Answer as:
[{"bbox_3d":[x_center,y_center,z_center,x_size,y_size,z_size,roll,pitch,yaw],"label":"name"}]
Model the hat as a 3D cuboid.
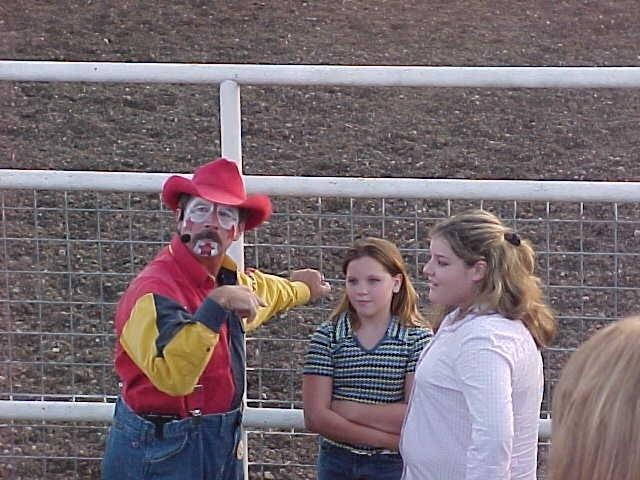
[{"bbox_3d":[-0.578,-0.252,12.918,0.436,0.180,0.444,18,-26,-8],"label":"hat"}]
